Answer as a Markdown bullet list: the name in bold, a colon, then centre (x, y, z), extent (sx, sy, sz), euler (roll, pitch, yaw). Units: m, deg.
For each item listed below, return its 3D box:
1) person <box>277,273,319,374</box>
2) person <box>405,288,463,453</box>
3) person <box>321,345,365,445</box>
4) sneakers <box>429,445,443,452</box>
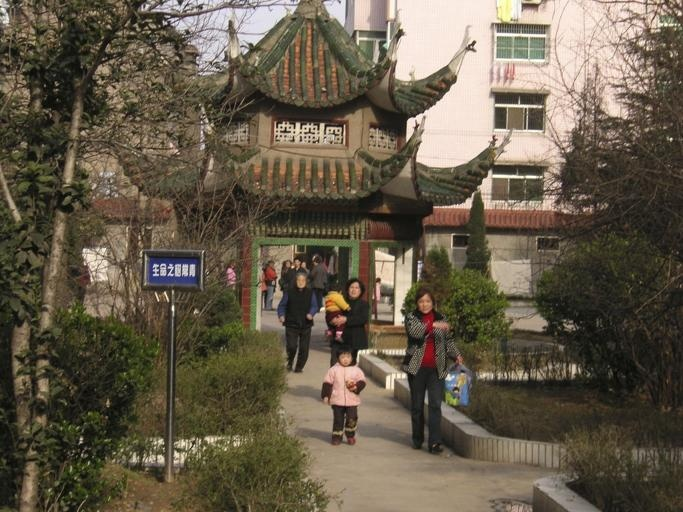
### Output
- **person**: centre (-0.814, 1.255, 27.025), extent (0.680, 1.417, 1.430), euler (6, 3, -1)
- **person**: centre (1.311, 1.717, 21.372), extent (0.827, 1.942, 0.739), euler (7, 3, 6)
- **person**: centre (0.039, 2.123, 21.700), extent (0.610, 1.109, 0.480), euler (7, 3, 1)
- **sneakers**: centre (1.410, 2.847, 21.112), extent (0.201, 0.119, 0.164), euler (9, 3, 4)
